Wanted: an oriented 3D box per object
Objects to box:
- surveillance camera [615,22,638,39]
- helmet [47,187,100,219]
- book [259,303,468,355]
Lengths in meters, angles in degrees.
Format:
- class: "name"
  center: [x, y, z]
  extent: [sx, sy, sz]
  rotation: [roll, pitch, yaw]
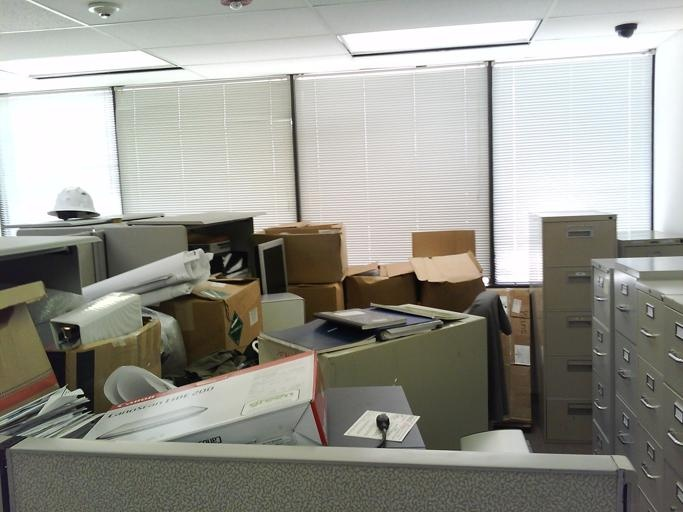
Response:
- class: "surveillance camera"
  center: [1.890, -1.497, 3.616]
  extent: [0.095, 0.054, 0.086]
  rotation: [0, 4, 1]
- class: "helmet"
  center: [-1.867, -0.375, 3.823]
  extent: [0.310, 0.176, 0.345]
  rotation: [1, 11, -4]
- class: "book"
  center: [0.098, 0.250, 2.054]
  extent: [0.681, 0.086, 0.385]
  rotation: [-6, 7, -39]
